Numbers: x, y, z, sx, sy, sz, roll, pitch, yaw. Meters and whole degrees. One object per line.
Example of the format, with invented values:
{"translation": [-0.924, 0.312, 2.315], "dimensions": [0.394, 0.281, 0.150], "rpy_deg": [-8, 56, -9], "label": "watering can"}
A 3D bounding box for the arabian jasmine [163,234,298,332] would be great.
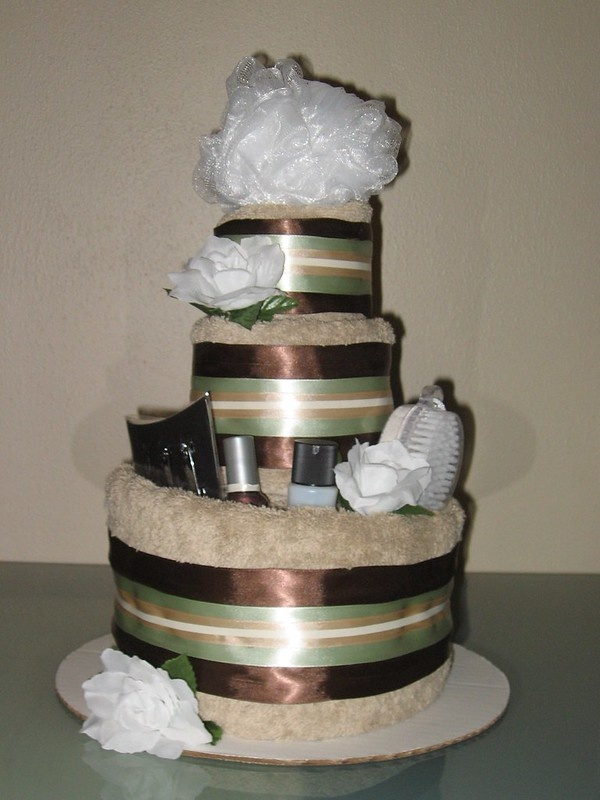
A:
{"translation": [-0.057, -0.092, 0.738], "dimensions": [0.100, 0.037, 0.079], "rpy_deg": [7, 40, 20], "label": "arabian jasmine"}

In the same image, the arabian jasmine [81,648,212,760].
{"translation": [-0.112, 0.222, 0.655], "dimensions": [0.103, 0.069, 0.033], "rpy_deg": [6, 10, 28], "label": "arabian jasmine"}

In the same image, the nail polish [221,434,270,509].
{"translation": [-0.044, 0.053, 0.684], "dimensions": [0.038, 0.049, 0.039], "rpy_deg": [-19, 31, -41], "label": "nail polish"}
